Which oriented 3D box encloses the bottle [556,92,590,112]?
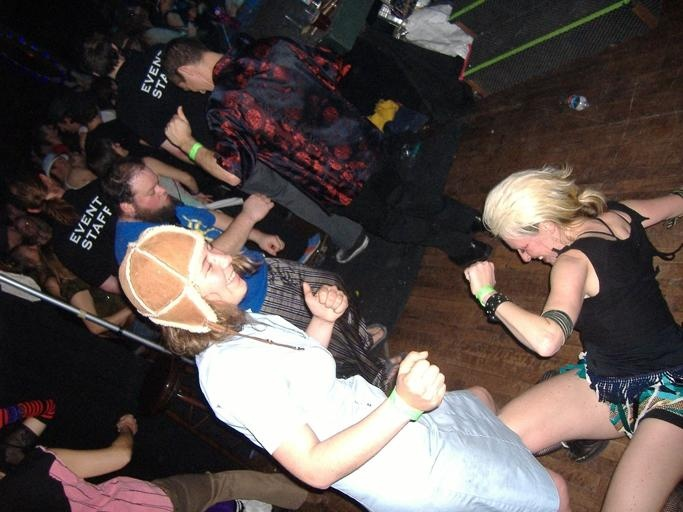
[{"bbox_3d":[1.609,-1.066,3.322,0.182,0.071,0.098,22,65,43],"label":"bottle"}]

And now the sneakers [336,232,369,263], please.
[{"bbox_3d":[0.099,-0.054,3.849,0.147,0.133,0.330,2,-31,-36],"label":"sneakers"}]

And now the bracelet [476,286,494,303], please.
[{"bbox_3d":[0.749,0.213,2.528,0.093,0.071,0.073,-40,28,47],"label":"bracelet"}]

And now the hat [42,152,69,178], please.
[{"bbox_3d":[-2.332,-0.751,3.924,0.229,0.207,0.155,2,36,-30],"label":"hat"}]

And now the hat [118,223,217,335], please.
[{"bbox_3d":[-0.706,0.094,2.247,0.405,0.473,0.160,-64,2,6],"label":"hat"}]

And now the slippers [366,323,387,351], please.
[{"bbox_3d":[0.266,0.572,3.432,0.107,0.066,0.185,5,43,4],"label":"slippers"}]
